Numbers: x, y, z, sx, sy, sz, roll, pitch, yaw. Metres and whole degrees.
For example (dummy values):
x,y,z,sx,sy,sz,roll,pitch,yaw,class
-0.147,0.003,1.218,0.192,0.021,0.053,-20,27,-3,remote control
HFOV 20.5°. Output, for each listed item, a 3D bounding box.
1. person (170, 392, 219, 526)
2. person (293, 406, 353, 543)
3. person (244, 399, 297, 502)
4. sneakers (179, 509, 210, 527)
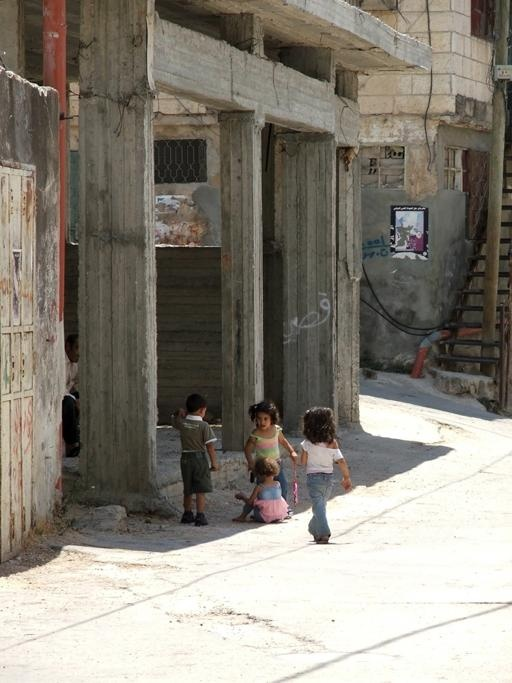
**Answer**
x,y,z,sx,sy,sz,roll,pitch,yaw,class
-0.447,0.855,10.357,0.330,0.925,0.326,2,2,5,person
0.490,0.914,9.789,0.326,0.892,0.614,1,3,-7,person
0.130,0.899,10.779,0.301,1.021,0.284,-7,27,-4,person
-0.423,1.266,10.316,0.076,0.127,0.236,1,1,31,sneakers
